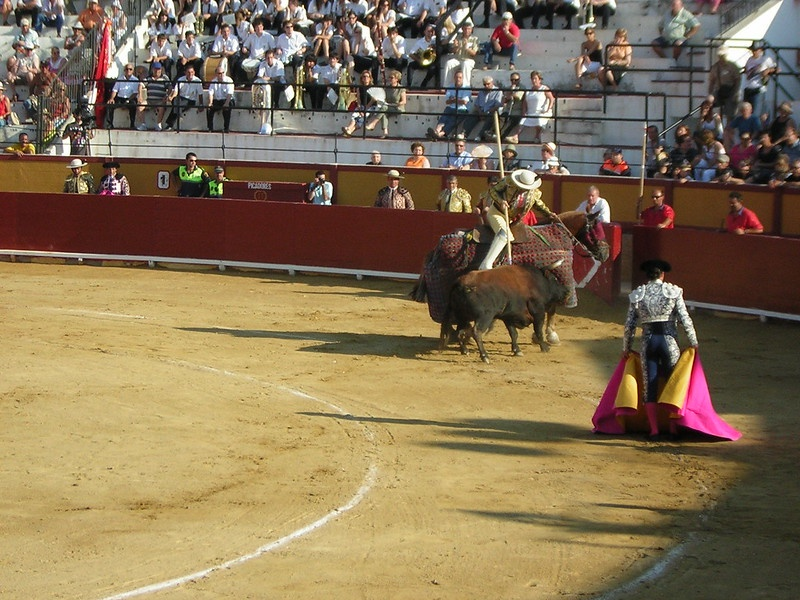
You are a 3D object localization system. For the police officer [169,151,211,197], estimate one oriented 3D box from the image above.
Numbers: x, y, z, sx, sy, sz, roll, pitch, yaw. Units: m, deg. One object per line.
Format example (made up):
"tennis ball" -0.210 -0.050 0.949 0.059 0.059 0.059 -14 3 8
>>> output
"police officer" -4.236 -2.556 25.945 0.632 0.883 2.505 0 5 -9

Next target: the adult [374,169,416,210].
"adult" -0.080 -2.058 23.594 0.685 0.730 0.522 1 6 -2

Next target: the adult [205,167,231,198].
"adult" -3.755 -2.388 25.632 0.336 0.625 0.792 0 6 -12

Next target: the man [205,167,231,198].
"man" -3.760 -2.388 25.634 0.331 0.625 0.883 0 6 -11

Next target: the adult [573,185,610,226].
"adult" 3.343 -1.497 21.600 0.520 0.834 0.688 -13 18 -39

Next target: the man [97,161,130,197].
"man" -5.859 -2.478 25.714 0.583 0.619 1.035 0 5 -13

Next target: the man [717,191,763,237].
"man" 5.698 -1.392 20.841 0.442 0.736 0.794 -5 10 -32

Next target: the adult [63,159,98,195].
"adult" -6.536 -2.499 25.602 0.611 0.669 0.606 0 6 -15

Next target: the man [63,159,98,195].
"man" -6.537 -2.499 25.606 0.611 0.669 0.598 0 6 -15

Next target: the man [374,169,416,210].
"man" -0.080 -2.058 23.594 0.685 0.730 0.522 1 6 -2

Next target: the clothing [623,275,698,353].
"clothing" 3.466 0.226 16.409 1.197 1.004 0.488 0 17 14

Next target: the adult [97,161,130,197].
"adult" -5.858 -2.473 25.707 0.583 0.628 1.108 0 5 -13

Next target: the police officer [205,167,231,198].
"police officer" -3.757 -2.388 25.635 0.334 0.625 0.741 0 6 -12

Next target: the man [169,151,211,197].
"man" -4.239 -2.557 25.962 0.634 0.883 2.540 0 5 -9

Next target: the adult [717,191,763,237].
"adult" 5.694 -1.391 20.862 0.427 0.733 0.776 -1 7 -25

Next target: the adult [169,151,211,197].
"adult" -4.237 -2.555 25.945 0.634 0.883 2.504 0 5 -9

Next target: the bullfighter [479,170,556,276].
"bullfighter" 1.674 -1.168 18.457 0.945 1.455 0.750 2 6 4
